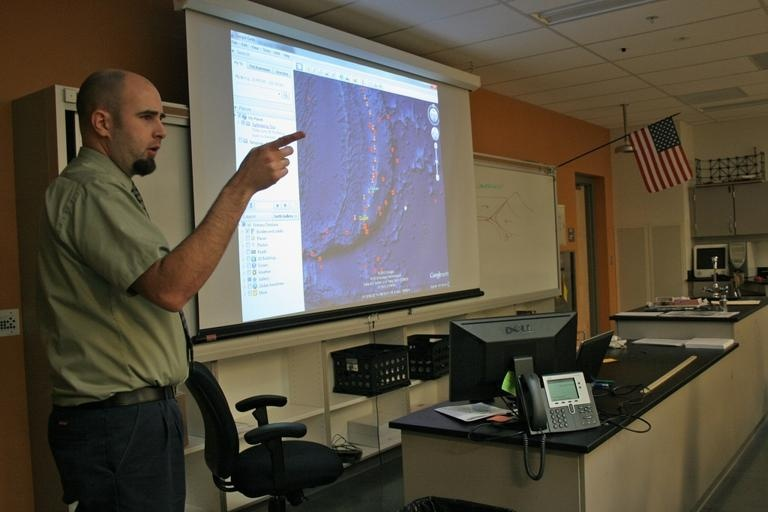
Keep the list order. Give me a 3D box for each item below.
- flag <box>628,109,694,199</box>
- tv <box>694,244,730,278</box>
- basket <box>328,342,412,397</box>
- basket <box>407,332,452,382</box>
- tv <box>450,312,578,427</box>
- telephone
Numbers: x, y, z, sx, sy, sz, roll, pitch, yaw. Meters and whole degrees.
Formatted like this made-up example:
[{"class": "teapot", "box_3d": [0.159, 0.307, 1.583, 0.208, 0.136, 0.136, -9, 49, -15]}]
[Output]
[{"class": "flag", "box_3d": [3.691, -1.369, 7.836, 0.931, 1.126, 0.059, -20, 1, 12]}, {"class": "tv", "box_3d": [4.951, 0.083, 8.960, 0.254, 0.467, 0.457, 8, -9, -37]}, {"class": "basket", "box_3d": [-0.119, 0.906, 4.852, 0.394, 0.286, 0.525, -1, 1, 36]}, {"class": "basket", "box_3d": [0.416, 0.818, 5.302, 0.346, 0.385, 0.606, -1, 1, 20]}, {"class": "tv", "box_3d": [0.690, 0.594, 3.132, 0.546, 0.374, 0.189, -3, 6, -10]}, {"class": "telephone", "box_3d": [0.890, 0.724, 3.043, 0.383, 0.238, 0.277, -6, 18, -12]}]
